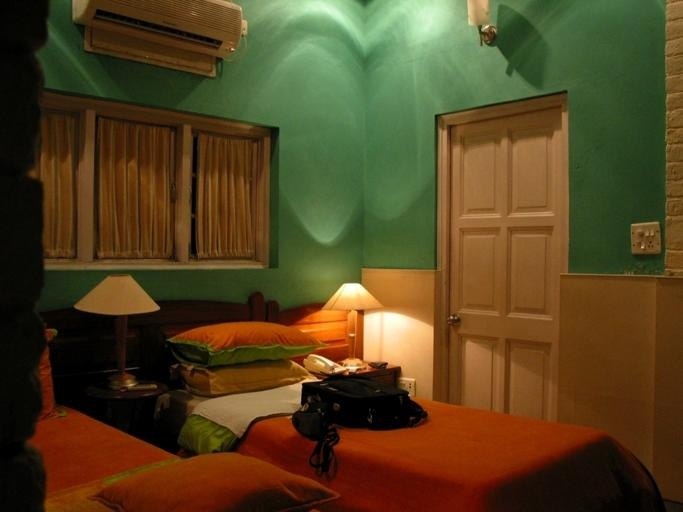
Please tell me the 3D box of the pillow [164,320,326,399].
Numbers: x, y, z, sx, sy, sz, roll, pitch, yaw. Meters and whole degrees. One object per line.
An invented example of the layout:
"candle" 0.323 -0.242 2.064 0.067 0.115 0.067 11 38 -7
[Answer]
"pillow" -0.567 0.525 3.291 0.559 0.275 0.416 1 0 -39

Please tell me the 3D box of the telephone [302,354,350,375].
"telephone" -0.116 0.700 3.658 0.186 0.075 0.140 4 0 41

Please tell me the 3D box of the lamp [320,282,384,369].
"lamp" 0.061 0.452 3.997 0.471 0.629 0.493 0 2 -19
